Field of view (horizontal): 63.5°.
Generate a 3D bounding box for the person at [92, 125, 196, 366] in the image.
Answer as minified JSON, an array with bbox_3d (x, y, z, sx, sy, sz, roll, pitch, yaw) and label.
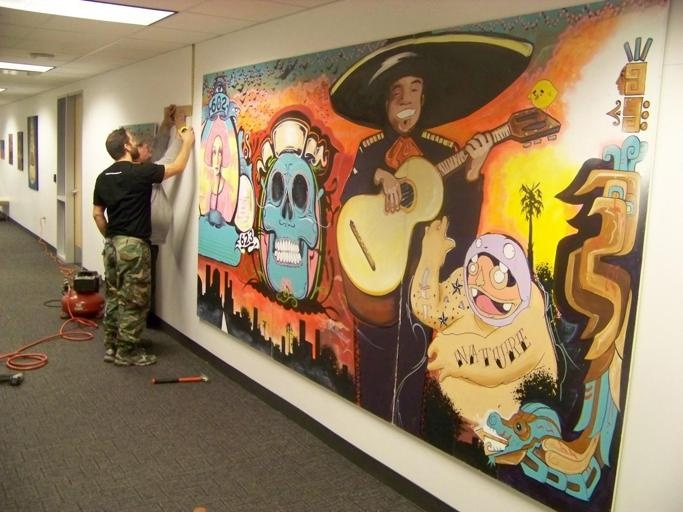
[{"bbox_3d":[-1.796,-0.077,4.962,0.852,2.013,0.542,-1,10,-12],"label":"person"}]
